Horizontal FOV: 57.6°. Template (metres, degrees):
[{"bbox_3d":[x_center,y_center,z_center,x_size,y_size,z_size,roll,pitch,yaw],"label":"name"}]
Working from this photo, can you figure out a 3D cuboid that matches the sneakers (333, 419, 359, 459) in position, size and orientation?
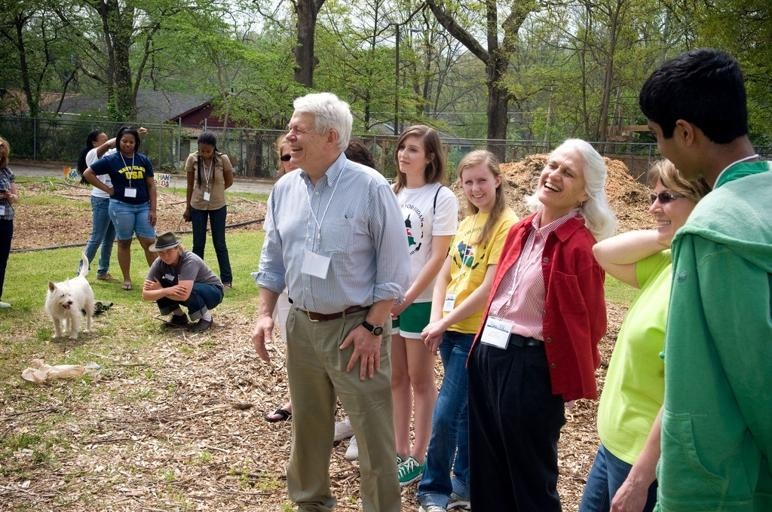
[{"bbox_3d":[-0.351,1.599,6.184,0.186,0.237,0.554,-5,-3,-10],"label":"sneakers"}]

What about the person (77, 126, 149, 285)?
[{"bbox_3d":[-3.844,-0.693,10.316,0.886,2.325,0.483,-2,12,-19],"label":"person"}]

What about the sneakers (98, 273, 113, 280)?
[{"bbox_3d":[-4.323,0.311,10.846,0.218,0.092,0.079,-2,20,-32],"label":"sneakers"}]

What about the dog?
[{"bbox_3d":[-3.770,0.505,8.368,0.405,0.898,1.239,0,5,-12],"label":"dog"}]

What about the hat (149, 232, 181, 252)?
[{"bbox_3d":[-2.604,-0.172,8.250,0.276,0.259,0.311,0,11,-8],"label":"hat"}]

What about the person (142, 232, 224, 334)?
[{"bbox_3d":[-2.454,0.265,8.532,0.900,1.214,0.612,-2,12,-15],"label":"person"}]
